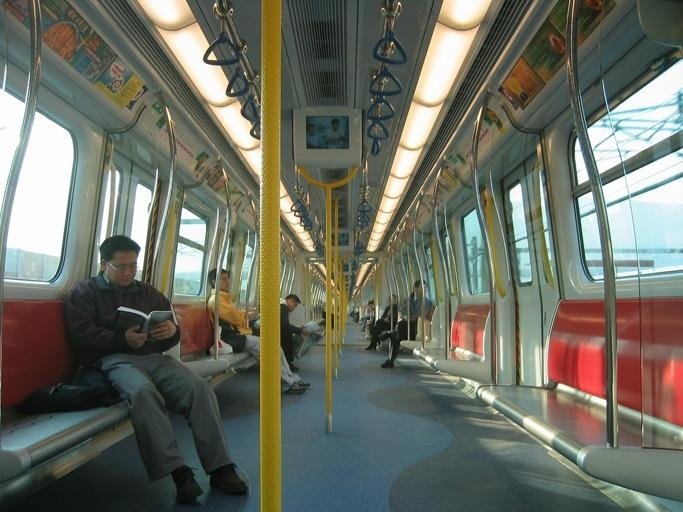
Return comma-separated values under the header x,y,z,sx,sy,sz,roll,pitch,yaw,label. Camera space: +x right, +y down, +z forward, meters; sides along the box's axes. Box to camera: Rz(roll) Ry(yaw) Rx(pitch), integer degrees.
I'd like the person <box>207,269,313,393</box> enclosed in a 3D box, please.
x,y,z,sx,sy,sz,roll,pitch,yaw,label
-1.185,1.027,6.059,1.224,1.781,0.631,-4,-16,-10,person

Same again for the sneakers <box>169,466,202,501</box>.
x,y,z,sx,sy,sz,roll,pitch,yaw,label
-1.000,1.471,2.915,0.114,0.130,0.308,-7,-10,-29,sneakers
